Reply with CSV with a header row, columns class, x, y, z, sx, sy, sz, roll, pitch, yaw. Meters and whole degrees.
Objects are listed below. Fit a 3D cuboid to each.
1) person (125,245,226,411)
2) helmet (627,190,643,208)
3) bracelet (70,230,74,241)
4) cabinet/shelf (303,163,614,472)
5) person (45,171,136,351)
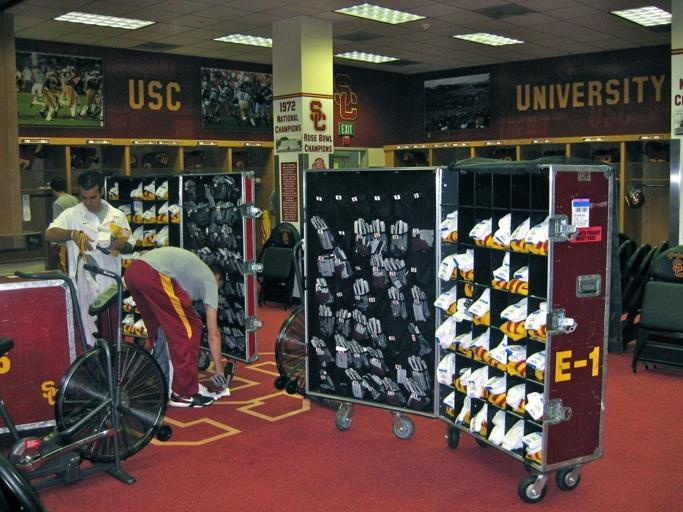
class,x,y,z,sx,sy,sz,roll,pitch,yaw
person,-1.475,0.670,5.213,0.909,1.509,0.654,-5,10,-30
helmet,5.401,-1.021,10.430,0.236,0.319,0.327,-6,-1,7
bracelet,-2.479,-0.186,5.228,0.021,0.090,0.120,-8,11,-40
cabinet/shelf,0.867,0.427,4.109,1.044,1.932,2.239,-4,6,-38
person,-2.339,0.027,5.344,0.752,1.615,0.520,-5,9,-27
